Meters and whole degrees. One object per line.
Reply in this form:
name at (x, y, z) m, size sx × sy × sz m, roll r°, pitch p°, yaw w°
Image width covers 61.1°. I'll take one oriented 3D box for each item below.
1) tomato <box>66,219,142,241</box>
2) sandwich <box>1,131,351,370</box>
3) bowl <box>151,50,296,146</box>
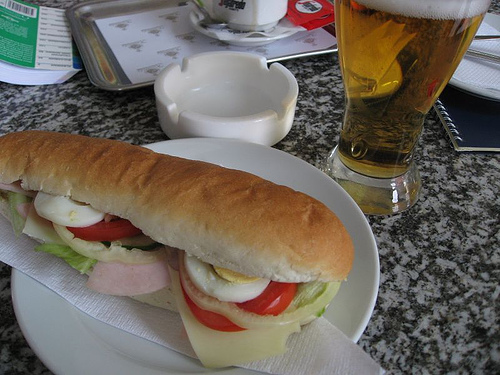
tomato at (-0.263, 0.069, 0.826) m, size 0.124 × 0.035 × 0.131 m, roll 0°, pitch 16°, yaw -6°
sandwich at (-0.198, 0.103, 0.802) m, size 0.655 × 0.163 × 0.333 m, roll 17°, pitch 38°, yaw 18°
bowl at (-0.073, -0.207, 1.053) m, size 0.335 × 0.101 × 0.306 m, roll 5°, pitch 37°, yaw -4°
